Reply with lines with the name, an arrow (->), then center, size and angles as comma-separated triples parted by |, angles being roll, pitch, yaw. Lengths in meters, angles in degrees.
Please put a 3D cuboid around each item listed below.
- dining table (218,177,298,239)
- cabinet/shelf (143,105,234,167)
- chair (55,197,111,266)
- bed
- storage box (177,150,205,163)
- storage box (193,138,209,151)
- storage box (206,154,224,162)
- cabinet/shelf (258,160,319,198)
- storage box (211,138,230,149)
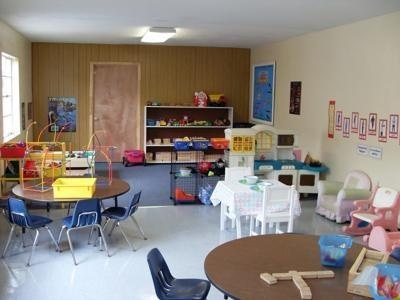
dining table -> 0.881, 0.777, 4.860 | 1.007, 0.630, 1.022 | 0, 6, -9
cabinet/shelf -> -0.499, -0.465, 9.450 | 2.009, 1.242, 0.343 | 0, 3, -12
chair -> -1.719, 1.212, 4.608 | 0.628, 1.004, 0.753 | -5, 18, -30
bed -> -3.011, 0.261, 7.059 | 1.049, 0.452, 0.734 | 0, 10, -4
storage box -> -0.294, 0.167, 9.156 | 0.752, 0.383, 0.420 | 0, 11, -9
storage box -> 0.006, -0.151, 7.599 | 0.384, 0.242, 0.386 | -1, 7, -8
storage box -> 0.446, 0.236, 10.147 | 0.682, 0.197, 0.217 | -4, 12, -28
cabinet/shelf -> 2.046, 0.572, 6.927 | 1.185, 0.585, 0.758 | 0, 17, -6
storage box -> 0.420, -0.154, 6.871 | 0.316, 0.236, 0.528 | 0, 11, -8
